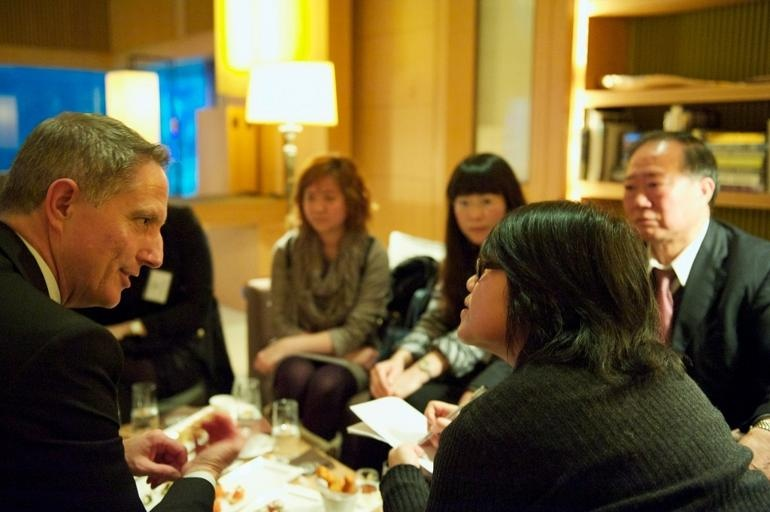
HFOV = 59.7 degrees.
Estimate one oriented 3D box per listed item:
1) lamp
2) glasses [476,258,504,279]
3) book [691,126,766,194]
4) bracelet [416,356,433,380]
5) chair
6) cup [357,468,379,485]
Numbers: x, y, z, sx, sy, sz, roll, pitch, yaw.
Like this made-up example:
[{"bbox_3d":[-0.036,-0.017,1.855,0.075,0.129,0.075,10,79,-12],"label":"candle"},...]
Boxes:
[{"bbox_3d":[-0.313,-0.378,2.288,0.301,0.413,0.276,4,1,12],"label":"lamp"},{"bbox_3d":[0.238,0.028,1.550,0.052,0.050,0.041,-9,-7,37],"label":"glasses"},{"bbox_3d":[1.243,-0.333,2.409,0.288,0.255,0.139,1,5,22],"label":"book"},{"bbox_3d":[0.142,0.399,2.359,0.015,0.062,0.063,-33,19,-22],"label":"bracelet"},{"bbox_3d":[-0.107,0.162,2.273,0.511,0.267,0.709,2,5,36],"label":"chair"},{"bbox_3d":[-0.057,0.733,2.215,0.073,0.050,0.071,1,1,0],"label":"cup"}]
